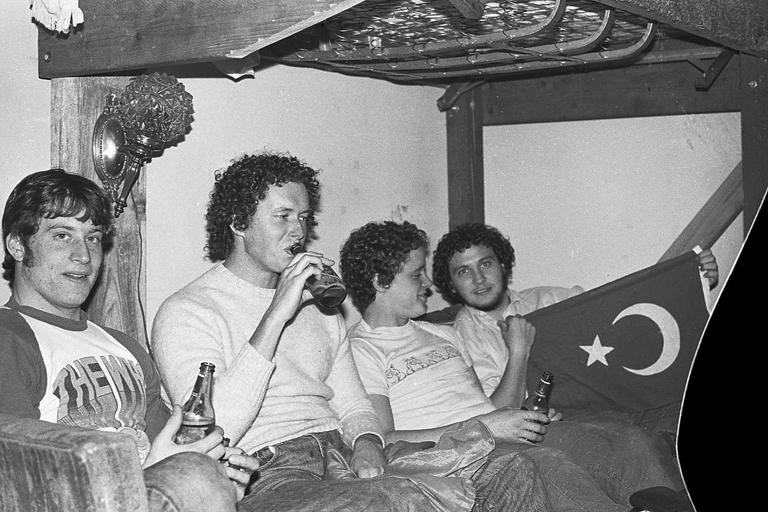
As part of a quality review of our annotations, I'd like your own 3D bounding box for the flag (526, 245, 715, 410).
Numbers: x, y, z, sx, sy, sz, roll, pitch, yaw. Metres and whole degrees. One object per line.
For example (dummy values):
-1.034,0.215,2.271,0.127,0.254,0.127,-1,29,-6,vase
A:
1.193,0.378,3.762,0.745,0.500,0.075,-24,-11,5,flag
